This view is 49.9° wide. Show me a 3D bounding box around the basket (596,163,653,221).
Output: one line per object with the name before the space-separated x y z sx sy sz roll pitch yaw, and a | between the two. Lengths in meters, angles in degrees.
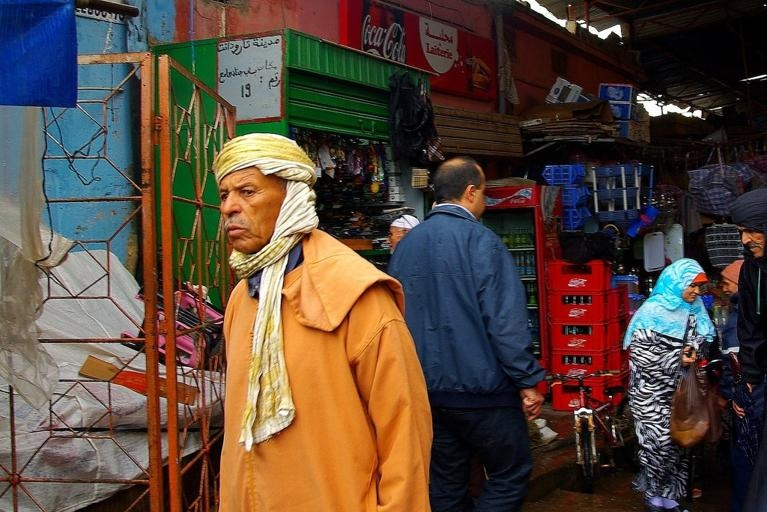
basket | 3.610 -0.921 12.666 0.961 0.823 0.915 -1 -6 14

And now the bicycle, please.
bicycle | 2.359 1.823 8.848 1.008 1.124 2.087 -12 -8 31

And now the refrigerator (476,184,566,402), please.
refrigerator | 1.809 0.380 10.871 1.278 2.767 0.895 -2 2 4

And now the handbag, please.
handbag | 5.127 -1.101 12.678 0.855 1.036 0.690 20 31 36
